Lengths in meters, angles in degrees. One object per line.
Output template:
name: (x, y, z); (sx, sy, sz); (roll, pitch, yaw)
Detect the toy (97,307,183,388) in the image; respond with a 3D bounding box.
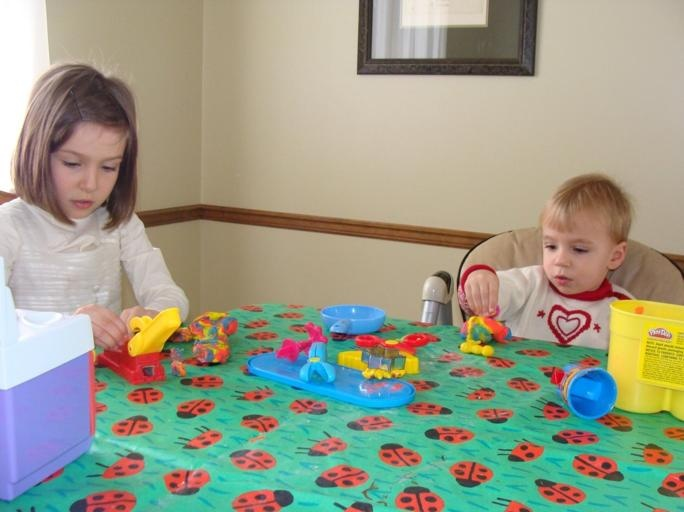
toy: (-0.347, 0.158, 0.923); (0.070, 0.139, 0.196); (-2, 8, -40)

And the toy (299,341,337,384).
toy: (-0.045, 0.201, 0.925); (0.063, 0.040, 0.109); (-3, 5, -3)

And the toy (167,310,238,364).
toy: (-0.263, 0.150, 1.036); (0.085, 0.044, 0.120); (-2, 15, -37)

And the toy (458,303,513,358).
toy: (0.295, 0.166, 1.110); (0.073, 0.049, 0.100); (5, 11, 36)

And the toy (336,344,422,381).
toy: (0.067, 0.192, 0.965); (0.082, 0.021, 0.080); (-1, 7, -29)

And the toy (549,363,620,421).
toy: (0.404, 0.223, 0.871); (0.073, 0.084, 0.068); (0, 9, -12)

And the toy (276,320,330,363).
toy: (-0.075, 0.173, 1.002); (0.097, 0.050, 0.060); (-18, 13, -28)
